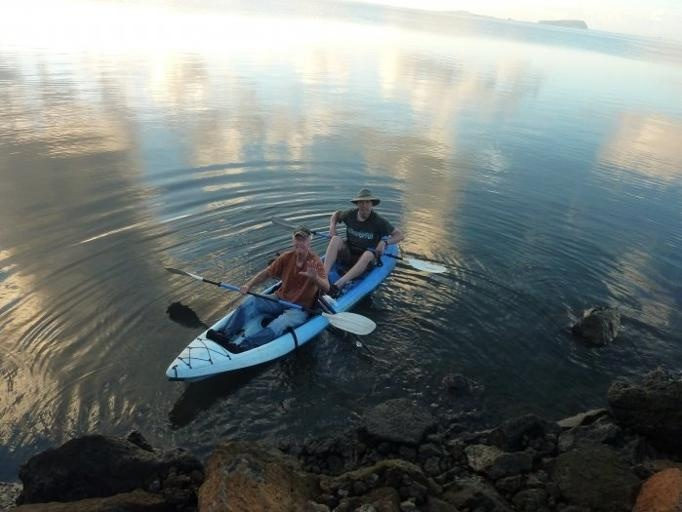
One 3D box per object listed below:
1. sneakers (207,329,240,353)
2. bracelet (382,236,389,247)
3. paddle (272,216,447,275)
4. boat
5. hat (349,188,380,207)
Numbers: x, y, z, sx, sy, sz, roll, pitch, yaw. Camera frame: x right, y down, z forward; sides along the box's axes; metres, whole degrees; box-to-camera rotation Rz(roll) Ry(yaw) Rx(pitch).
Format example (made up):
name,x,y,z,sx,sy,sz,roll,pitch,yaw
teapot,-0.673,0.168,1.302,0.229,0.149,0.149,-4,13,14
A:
name,x,y,z,sx,sy,sz,roll,pitch,yaw
sneakers,-2.085,1.516,9.796,0.717,0.196,0.224,21,36,23
bracelet,0.976,-0.295,12.042,0.184,0.075,0.191,30,59,-27
paddle,0.399,-0.182,12.138,4.781,0.251,0.482,13,22,22
boat,-0.624,0.987,10.271,4.907,0.582,1.395,-23,45,-28
hat,0.567,-1.249,11.942,0.567,0.601,0.178,-1,72,6
